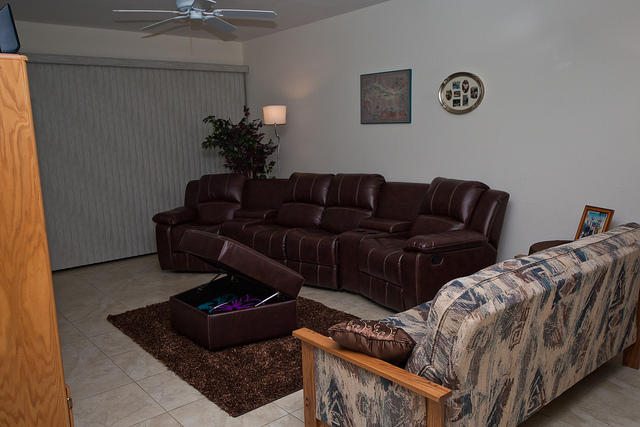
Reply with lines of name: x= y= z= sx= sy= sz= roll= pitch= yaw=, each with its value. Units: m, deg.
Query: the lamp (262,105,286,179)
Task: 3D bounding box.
lamp: x=-0.706 y=-1.104 z=6.706 sx=0.294 sy=1.133 sz=0.579 roll=0 pitch=14 yaw=-7

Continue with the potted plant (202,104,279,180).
potted plant: x=-1.159 y=-1.086 z=6.765 sx=1.088 sy=1.114 sz=0.856 roll=14 pitch=18 yaw=40

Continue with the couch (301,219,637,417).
couch: x=1.061 y=0.714 z=2.639 sx=2.059 sy=1.077 sz=0.697 roll=-4 pitch=15 yaw=-26

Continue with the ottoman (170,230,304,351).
ottoman: x=-0.812 y=0.661 z=4.114 sx=1.008 sy=0.936 sz=1.013 roll=-3 pitch=6 yaw=-40
